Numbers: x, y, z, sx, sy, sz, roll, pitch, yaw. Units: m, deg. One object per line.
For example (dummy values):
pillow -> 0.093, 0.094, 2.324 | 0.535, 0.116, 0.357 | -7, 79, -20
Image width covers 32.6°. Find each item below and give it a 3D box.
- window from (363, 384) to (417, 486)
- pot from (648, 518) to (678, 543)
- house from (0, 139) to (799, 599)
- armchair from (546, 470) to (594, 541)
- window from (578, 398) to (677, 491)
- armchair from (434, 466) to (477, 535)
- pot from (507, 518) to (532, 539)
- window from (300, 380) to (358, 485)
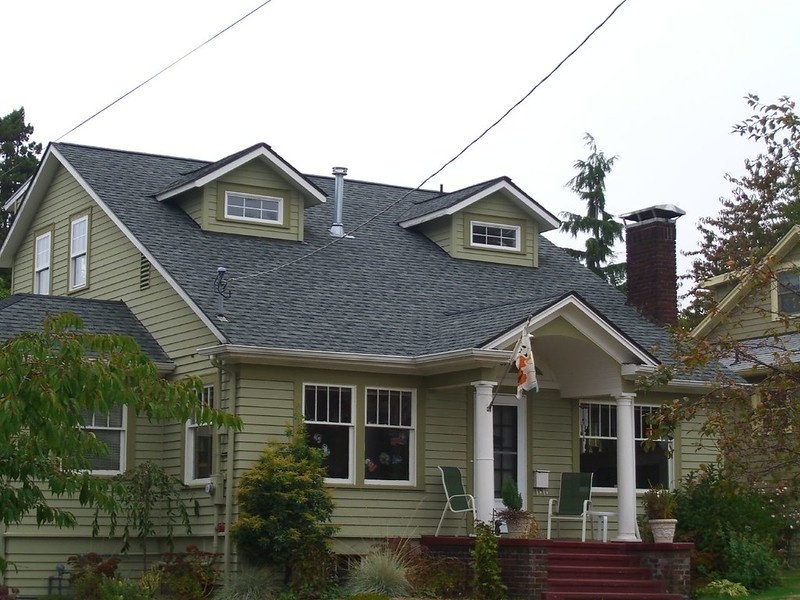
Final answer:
window -> -0.227, 2.719, 27.514 | 1.101, 1.840, 0.280 | 6, -15, -22
pot -> 5.341, 4.657, 27.577 | 0.488, 0.373, 0.489 | 1, -17, 0
house -> -1.363, 0.822, 29.543 | 13.597, 9.978, 7.944 | -2, -14, 10
armchair -> 3.509, 4.285, 28.272 | 0.925, 1.485, 1.564 | -1, -14, 7
window -> 4.548, 2.979, 27.918 | 2.561, 2.209, 0.243 | 5, -13, -24
armchair -> 1.079, 3.993, 27.335 | 0.747, 1.416, 1.189 | 1, -13, 0
pot -> 2.345, 4.482, 26.915 | 0.443, 0.360, 0.476 | 1, -10, 0
window -> -1.400, 2.611, 26.930 | 1.023, 1.849, 0.436 | 3, -14, -11
